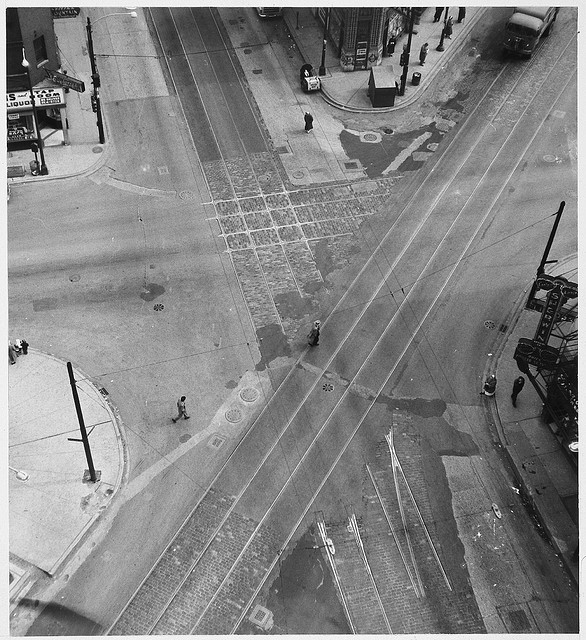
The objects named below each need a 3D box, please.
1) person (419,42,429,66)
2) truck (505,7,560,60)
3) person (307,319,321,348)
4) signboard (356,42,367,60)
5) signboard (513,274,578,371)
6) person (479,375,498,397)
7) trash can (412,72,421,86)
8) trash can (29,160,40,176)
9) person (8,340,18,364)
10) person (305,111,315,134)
[{"bbox_3d":[9.838,-19.861,56.950,0.562,2.012,0.798,3,58,7],"label":"person"},{"bbox_3d":[18.234,-22.641,57.910,2.345,3.030,5.505,18,60,25],"label":"truck"},{"bbox_3d":[1.059,0.718,38.087,0.436,1.336,0.513,21,42,19],"label":"person"},{"bbox_3d":[4.958,-19.594,55.044,0.612,1.468,0.876,-3,52,-2],"label":"signboard"},{"bbox_3d":[11.111,0.063,33.304,1.924,4.205,1.667,16,43,22],"label":"signboard"},{"bbox_3d":[9.355,2.995,36.321,0.648,1.030,0.748,22,47,27],"label":"person"},{"bbox_3d":[8.902,-17.318,54.723,0.564,1.026,0.716,-4,51,-4],"label":"trash can"},{"bbox_3d":[-15.633,-9.189,46.016,0.452,1.092,0.270,3,6,4],"label":"trash can"},{"bbox_3d":[-13.371,1.477,36.188,0.393,0.640,0.889,-15,45,-13],"label":"person"},{"bbox_3d":[1.133,-13.601,50.843,0.526,1.437,2.312,1,45,5],"label":"person"}]
